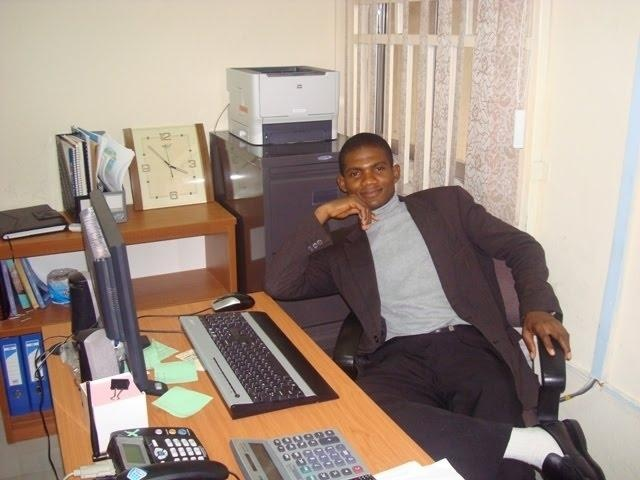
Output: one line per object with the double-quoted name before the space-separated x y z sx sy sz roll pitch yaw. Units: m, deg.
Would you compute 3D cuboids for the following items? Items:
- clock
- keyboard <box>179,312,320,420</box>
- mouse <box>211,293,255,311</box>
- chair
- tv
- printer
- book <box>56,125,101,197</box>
"clock" -0.909 -0.418 2.893 0.486 0.504 0.051 -8 4 -22
"keyboard" -0.238 0.394 1.559 0.199 0.064 0.477 -12 29 -20
"mouse" -0.341 0.233 1.925 0.131 0.041 0.072 -2 14 -27
"chair" 0.507 0.403 2.069 0.698 0.888 0.698 2 10 12
"tv" -0.715 0.156 1.779 0.183 0.573 0.572 -14 28 -17
"printer" -0.178 -0.716 2.645 0.495 0.384 0.500 -8 22 -19
"book" -1.276 -0.413 2.593 0.151 0.396 0.385 -14 26 -26
